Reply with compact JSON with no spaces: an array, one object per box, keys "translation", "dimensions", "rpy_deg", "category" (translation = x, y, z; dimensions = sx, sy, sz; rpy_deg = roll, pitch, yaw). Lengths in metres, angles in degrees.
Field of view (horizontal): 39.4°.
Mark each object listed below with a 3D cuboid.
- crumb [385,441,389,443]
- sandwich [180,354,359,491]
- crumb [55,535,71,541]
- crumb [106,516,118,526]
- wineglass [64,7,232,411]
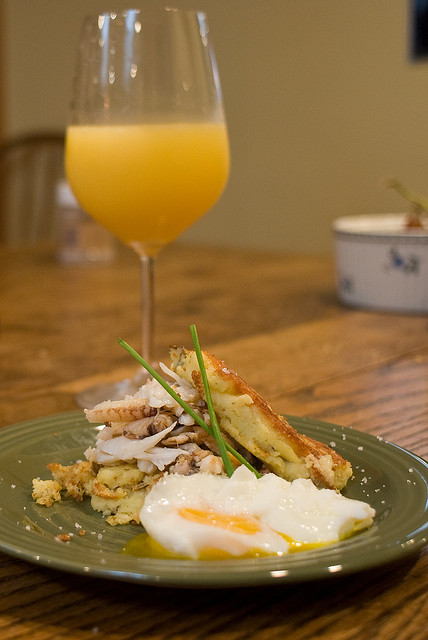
[{"translation":[0.142,0.101,0.493],"dimensions":[0.003,0.001,0.003],"rpy_deg":[-1,7,-10],"category":"crumb"},{"translation":[0.056,0.061,0.458],"dimensions":[0.106,0.038,0.102],"rpy_deg":[44,-5,32],"category":"sandwich"},{"translation":[-0.085,0.123,0.341],"dimensions":[0.006,0.002,0.004],"rpy_deg":[0,2,24],"category":"crumb"},{"translation":[-0.065,0.129,0.381],"dimensions":[0.004,0.001,0.004],"rpy_deg":[25,11,19],"category":"crumb"},{"translation":[-0.081,-0.137,0.714],"dimensions":[0.165,0.437,0.152],"rpy_deg":[-3,8,-41],"category":"wineglass"}]
